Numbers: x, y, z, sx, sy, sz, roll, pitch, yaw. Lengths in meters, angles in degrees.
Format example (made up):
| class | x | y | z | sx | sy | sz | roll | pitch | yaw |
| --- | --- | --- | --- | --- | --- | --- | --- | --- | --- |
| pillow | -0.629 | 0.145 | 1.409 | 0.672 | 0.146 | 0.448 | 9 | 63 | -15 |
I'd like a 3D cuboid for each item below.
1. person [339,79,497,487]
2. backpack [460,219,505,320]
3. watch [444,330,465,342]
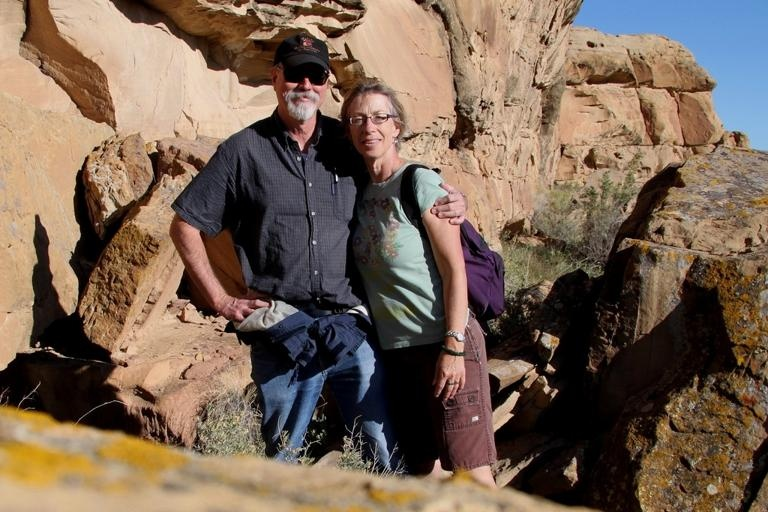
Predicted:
| class | x | y | z | sx | sy | sz | roll | pitch | yaw |
| --- | --- | --- | --- | --- | --- | --- | --- | --- | --- |
| person | 0.257 | 0.255 | 4.025 | 1.209 | 2.591 | 0.466 | 10 | 9 | 21 |
| backpack | 0.702 | 0.075 | 4.146 | 0.332 | 0.641 | 0.435 | -7 | -1 | 23 |
| watch | 0.431 | 0.485 | 3.772 | 0.095 | 0.064 | 0.089 | 27 | -8 | -36 |
